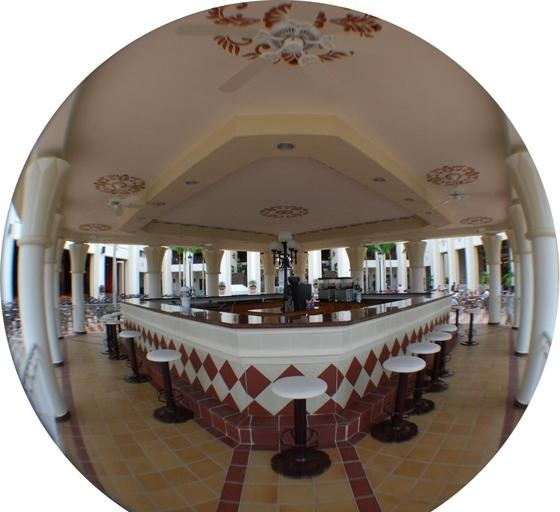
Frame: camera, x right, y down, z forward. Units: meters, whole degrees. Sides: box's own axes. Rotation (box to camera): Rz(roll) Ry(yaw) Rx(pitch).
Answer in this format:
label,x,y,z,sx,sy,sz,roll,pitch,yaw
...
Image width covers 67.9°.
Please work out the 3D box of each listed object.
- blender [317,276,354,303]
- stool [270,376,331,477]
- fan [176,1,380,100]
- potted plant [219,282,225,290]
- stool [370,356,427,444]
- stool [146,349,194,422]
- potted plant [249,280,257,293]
label,x,y,z,sx,sy,sz,roll,pitch,yaw
blender,1.222,0.758,9.589,0.923,0.543,0.615,1,4,37
stool,0.170,1.567,3.941,0.532,0.821,0.616,3,14,20
fan,-0.073,-1.888,3.808,0.970,0.180,0.814,0,-7,-15
potted plant,-4.826,2.443,34.496,0.578,0.465,0.499,0,-2,-2
stool,1.159,1.494,4.431,0.456,0.869,0.718,5,15,29
stool,-1.300,1.553,5.000,0.421,0.822,0.782,-7,13,-19
potted plant,-2.505,2.565,35.868,0.991,0.789,0.892,0,-4,-4
